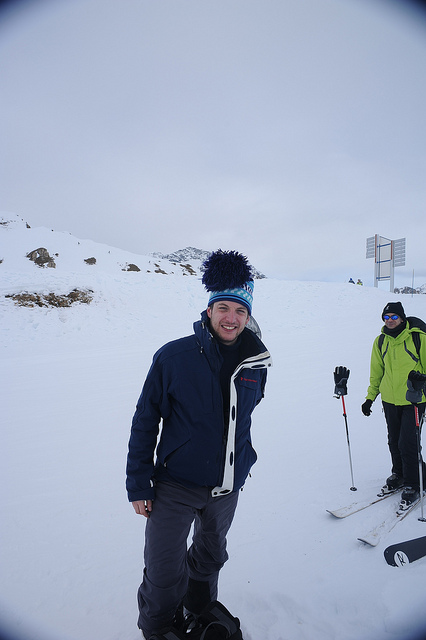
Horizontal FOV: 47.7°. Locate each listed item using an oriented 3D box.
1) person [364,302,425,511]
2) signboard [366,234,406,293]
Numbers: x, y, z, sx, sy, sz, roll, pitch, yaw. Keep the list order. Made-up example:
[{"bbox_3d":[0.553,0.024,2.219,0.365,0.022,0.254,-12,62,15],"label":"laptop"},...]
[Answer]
[{"bbox_3d":[1.848,0.778,4.731,0.529,1.893,1.026,0,7,-1],"label":"person"},{"bbox_3d":[10.550,-3.506,29.436,2.137,3.384,5.947,2,7,19],"label":"signboard"}]
